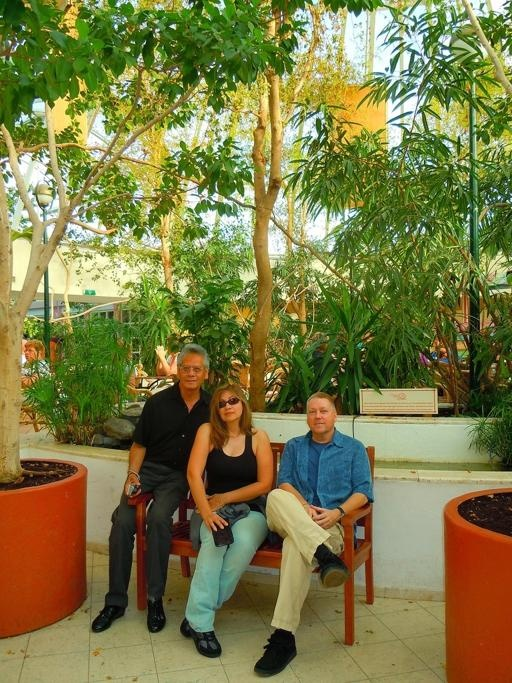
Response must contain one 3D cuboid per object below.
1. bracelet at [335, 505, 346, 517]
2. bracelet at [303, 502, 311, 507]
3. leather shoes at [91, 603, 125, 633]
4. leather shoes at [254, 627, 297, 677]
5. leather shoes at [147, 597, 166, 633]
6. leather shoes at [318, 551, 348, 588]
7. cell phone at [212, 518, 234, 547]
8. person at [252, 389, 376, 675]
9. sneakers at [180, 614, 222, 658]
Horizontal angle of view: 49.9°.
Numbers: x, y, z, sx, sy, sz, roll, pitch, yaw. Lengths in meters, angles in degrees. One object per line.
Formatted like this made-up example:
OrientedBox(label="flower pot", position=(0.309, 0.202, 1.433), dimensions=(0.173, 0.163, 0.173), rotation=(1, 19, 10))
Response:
OrientedBox(label="bracelet", position=(0.368, 0.735, 2.366), dimensions=(0.036, 0.031, 0.076), rotation=(-1, 2, -14))
OrientedBox(label="bracelet", position=(0.229, 0.724, 2.439), dimensions=(0.017, 0.016, 0.016), rotation=(2, -3, -36))
OrientedBox(label="leather shoes", position=(-0.666, 1.241, 2.459), dimensions=(0.052, 0.064, 0.154), rotation=(7, -6, 19))
OrientedBox(label="leather shoes", position=(0.079, 1.206, 2.116), dimensions=(0.074, 0.092, 0.222), rotation=(1, -13, 27))
OrientedBox(label="leather shoes", position=(-0.454, 1.222, 2.477), dimensions=(0.082, 0.121, 0.163), rotation=(-1, 2, -12))
OrientedBox(label="leather shoes", position=(0.298, 0.889, 2.154), dimensions=(0.115, 0.120, 0.161), rotation=(-1, 2, 1))
OrientedBox(label="cell phone", position=(-0.143, 0.805, 2.319), dimensions=(0.063, 0.025, 0.097), rotation=(-1, 40, -10))
OrientedBox(label="person", position=(0.261, 0.779, 2.344), dimensions=(0.466, 1.057, 0.731), rotation=(0, 3, 11))
OrientedBox(label="sneakers", position=(-0.223, 1.221, 2.308), dimensions=(0.077, 0.107, 0.224), rotation=(4, -1, -41))
